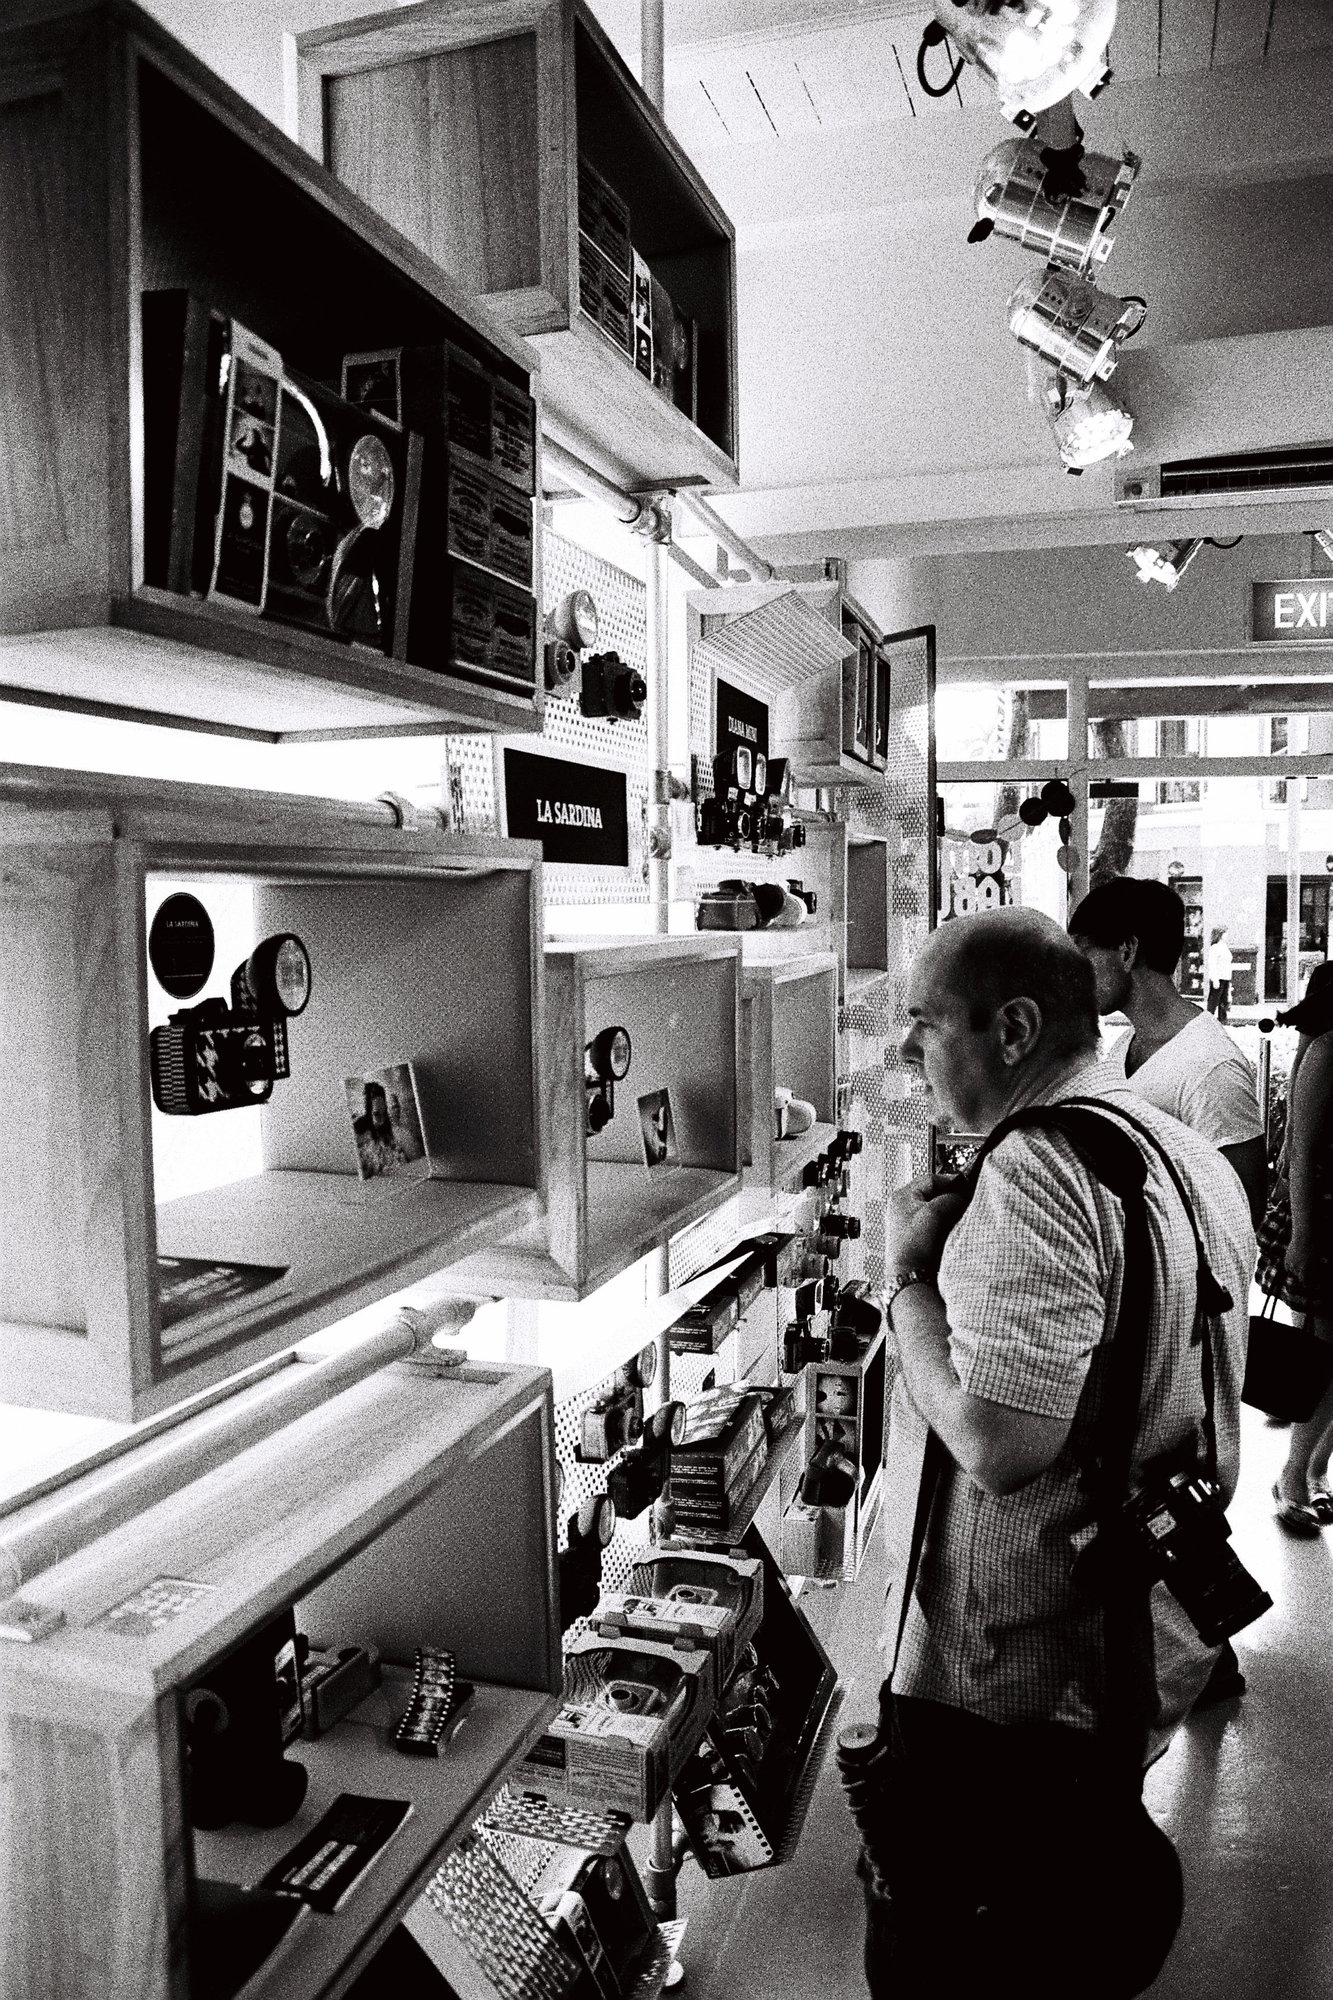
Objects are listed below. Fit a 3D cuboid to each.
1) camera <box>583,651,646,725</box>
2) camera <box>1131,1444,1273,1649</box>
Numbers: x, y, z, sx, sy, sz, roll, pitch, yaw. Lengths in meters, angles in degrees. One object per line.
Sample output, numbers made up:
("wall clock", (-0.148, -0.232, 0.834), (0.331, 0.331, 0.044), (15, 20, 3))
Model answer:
("camera", (-0.080, -0.458, 2.270), (0.073, 0.161, 0.145), (2, 5, 14))
("camera", (0.587, 0.630, 1.742), (0.175, 0.191, 0.054), (-37, 9, -21))
